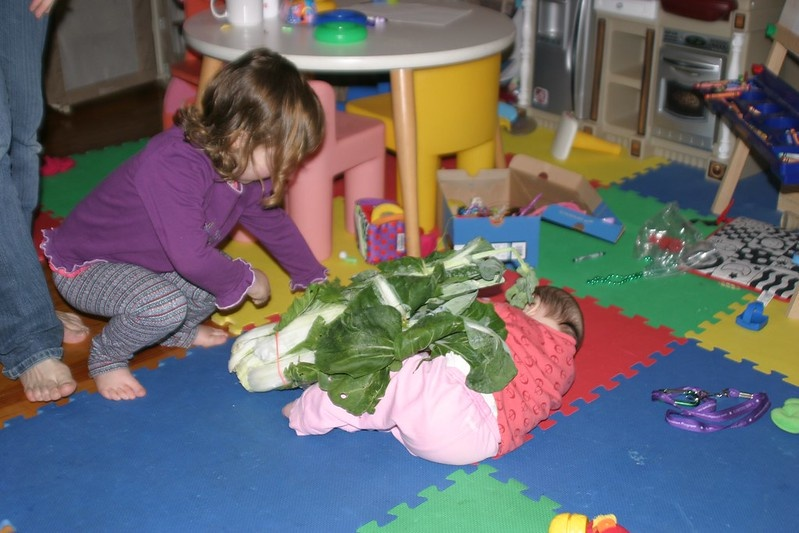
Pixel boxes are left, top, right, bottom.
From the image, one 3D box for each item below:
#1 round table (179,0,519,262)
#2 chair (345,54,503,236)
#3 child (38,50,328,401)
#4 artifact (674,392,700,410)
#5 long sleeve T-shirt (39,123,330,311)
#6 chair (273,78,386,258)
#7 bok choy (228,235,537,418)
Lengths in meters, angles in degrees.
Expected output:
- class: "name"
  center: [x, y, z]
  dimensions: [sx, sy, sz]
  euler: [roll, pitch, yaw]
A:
- class: "round table"
  center: [-0.151, -0.616, 2.513]
  dimensions: [1.104, 0.720, 1.110]
  euler: [1, 40, -1]
- class: "chair"
  center: [0.162, -0.656, 2.705]
  dimensions: [0.471, 0.797, 0.523]
  euler: [-15, 44, -10]
- class: "child"
  center: [-0.685, -0.149, 1.997]
  dimensions: [0.779, 1.048, 0.656]
  euler: [3, 13, -32]
- class: "artifact"
  center: [0.879, 0.411, 1.826]
  dimensions: [0.058, 0.026, 0.045]
  euler: [-11, 1, -20]
- class: "long sleeve T-shirt"
  center: [-0.665, -0.128, 2.007]
  dimensions: [0.888, 0.683, 0.668]
  euler: [6, 21, -16]
- class: "chair"
  center: [-0.255, -0.331, 2.209]
  dimensions: [0.369, 0.703, 0.364]
  euler: [-28, 47, -32]
- class: "bok choy"
  center: [-0.059, 0.270, 1.768]
  dimensions: [0.696, 0.242, 0.494]
  euler: [-24, 54, 8]
